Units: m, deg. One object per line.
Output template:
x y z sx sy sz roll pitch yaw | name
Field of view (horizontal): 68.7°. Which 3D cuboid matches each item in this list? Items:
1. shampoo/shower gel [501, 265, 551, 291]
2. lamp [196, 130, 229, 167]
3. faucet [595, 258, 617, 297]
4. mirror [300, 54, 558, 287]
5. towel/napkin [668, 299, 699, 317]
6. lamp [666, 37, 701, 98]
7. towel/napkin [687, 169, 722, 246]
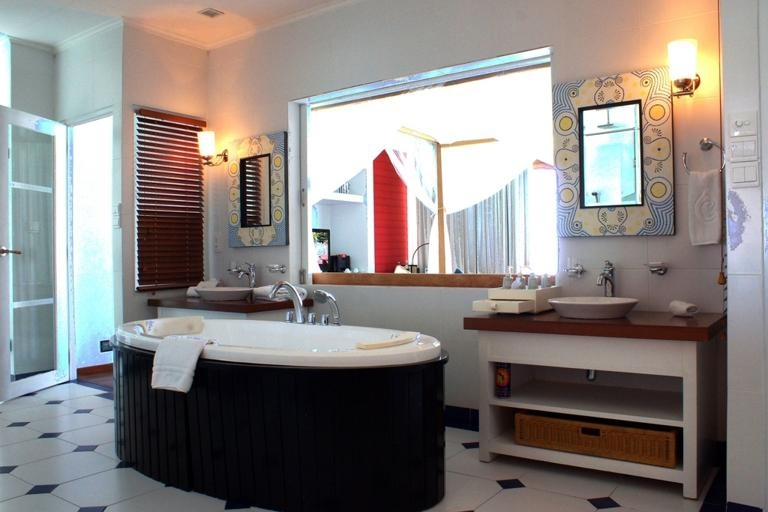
1.034 0.166 4.040 0.366 0.130 0.452 1 7 12 | shampoo/shower gel
-1.716 -1.065 5.619 0.238 0.332 0.348 -6 8 -40 | lamp
1.508 0.162 3.843 0.106 0.239 0.181 2 7 22 | faucet
0.423 -0.721 4.586 2.085 1.496 0.094 -1 -3 34 | mirror
1.867 0.339 3.597 0.100 0.093 0.212 -2 7 -13 | towel/napkin
1.929 -1.221 3.642 0.194 0.352 0.183 3 7 28 | lamp
2.038 -0.309 3.597 0.189 0.470 0.061 3 7 28 | towel/napkin
